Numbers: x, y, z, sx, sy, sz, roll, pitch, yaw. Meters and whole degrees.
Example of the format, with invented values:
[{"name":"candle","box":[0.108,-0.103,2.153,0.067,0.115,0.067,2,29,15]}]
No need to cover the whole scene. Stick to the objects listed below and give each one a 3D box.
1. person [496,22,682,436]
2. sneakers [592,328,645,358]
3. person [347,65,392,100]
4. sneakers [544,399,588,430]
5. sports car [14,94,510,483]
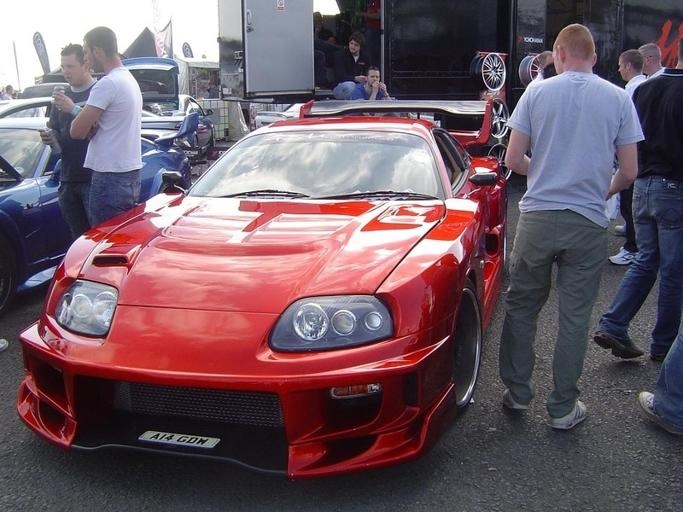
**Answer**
[{"name":"person","box":[1.275,-0.178,2.958,0.652,2.264,0.603,10,17,34]},{"name":"sneakers","box":[2.013,0.669,3.737,0.433,0.176,0.166,22,40,-25]},{"name":"person","box":[0.484,-2.788,8.459,0.657,0.711,0.962,-3,10,-7]},{"name":"sneakers","box":[1.320,0.934,2.980,0.108,0.132,0.274,13,27,42]},{"name":"sports car","box":[-0.088,-0.289,3.959,2.369,1.407,4.248,2,16,18]}]
